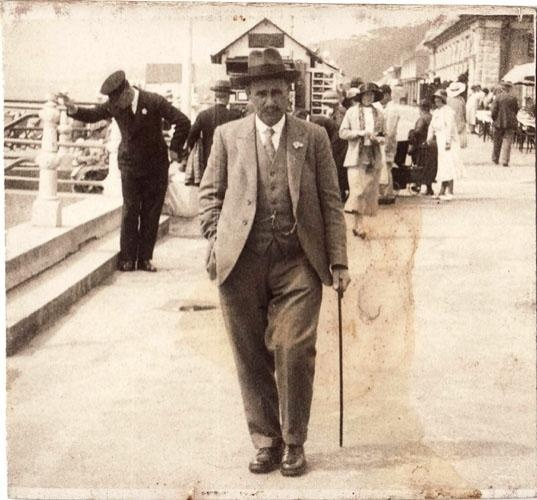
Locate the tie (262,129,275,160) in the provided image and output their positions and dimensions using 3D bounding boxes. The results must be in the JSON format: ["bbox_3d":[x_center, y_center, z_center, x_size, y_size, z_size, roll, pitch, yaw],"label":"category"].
[{"bbox_3d":[0.005,-0.555,3.917,0.038,0.208,0.046,-2,-9,-2],"label":"tie"}]

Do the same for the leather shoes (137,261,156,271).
[{"bbox_3d":[-0.750,0.095,4.579,0.133,0.078,0.052,-1,0,17],"label":"leather shoes"}]

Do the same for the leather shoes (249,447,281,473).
[{"bbox_3d":[0.006,1.168,4.174,0.223,0.149,0.090,6,-4,-43],"label":"leather shoes"}]

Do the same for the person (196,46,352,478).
[{"bbox_3d":[0.021,0.114,4.013,0.822,2.345,0.386,2,8,7],"label":"person"}]

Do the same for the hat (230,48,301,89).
[{"bbox_3d":[-0.012,-0.965,4.046,0.217,0.130,0.290,-12,3,3],"label":"hat"}]
